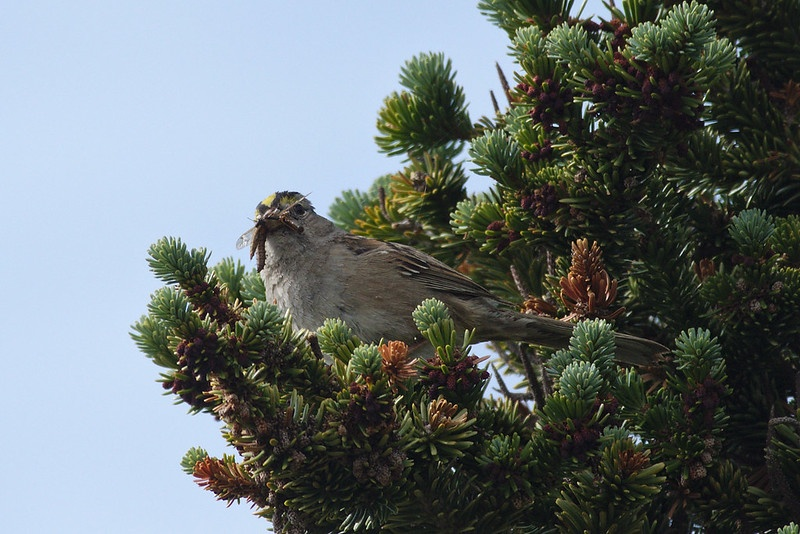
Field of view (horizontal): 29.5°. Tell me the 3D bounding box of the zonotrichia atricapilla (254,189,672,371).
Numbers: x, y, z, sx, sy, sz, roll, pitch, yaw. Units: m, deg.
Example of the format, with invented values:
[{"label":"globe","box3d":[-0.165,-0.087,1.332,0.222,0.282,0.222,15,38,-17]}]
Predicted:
[{"label":"zonotrichia atricapilla","box3d":[0.256,0.056,9.548,2.853,0.796,1.190,-2,-94,-34]}]
